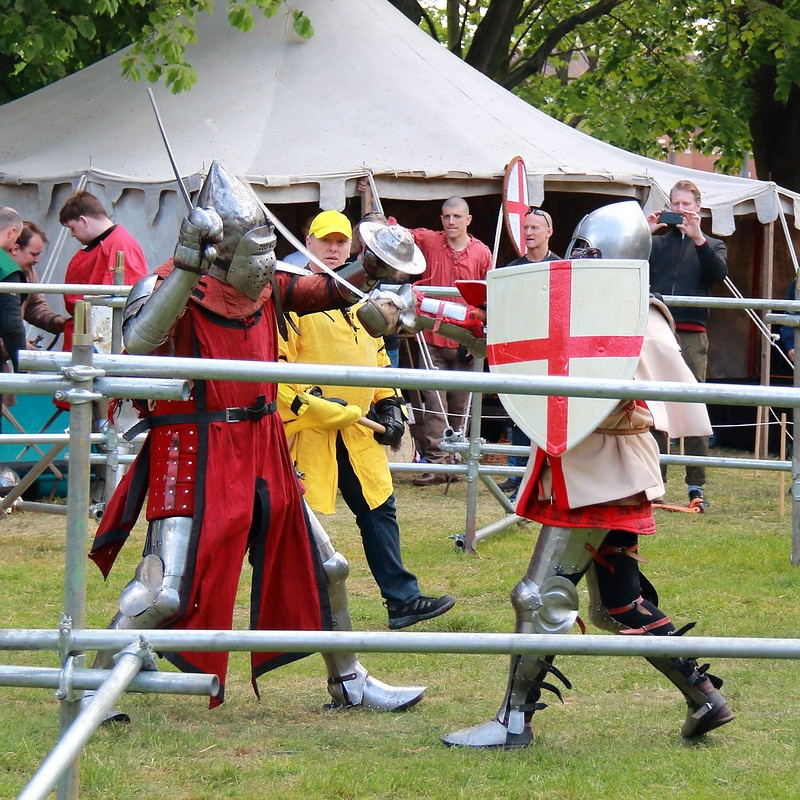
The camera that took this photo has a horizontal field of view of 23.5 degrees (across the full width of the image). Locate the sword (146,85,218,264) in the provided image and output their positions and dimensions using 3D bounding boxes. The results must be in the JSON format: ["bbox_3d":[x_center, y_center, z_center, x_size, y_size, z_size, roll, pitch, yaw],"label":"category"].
[{"bbox_3d":[-0.895,-0.922,7.655,0.089,0.724,0.173,-17,-3,-39],"label":"sword"}]

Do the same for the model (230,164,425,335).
[{"bbox_3d":[-0.283,-0.522,8.386,0.612,0.339,0.846,1,13,-31],"label":"model"}]

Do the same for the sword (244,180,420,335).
[{"bbox_3d":[-0.162,-0.496,8.051,0.520,0.566,0.333,-5,-11,-35],"label":"sword"}]

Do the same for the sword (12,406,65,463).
[{"bbox_3d":[-2.217,0.227,11.687,0.322,0.305,0.034,42,-23,-25],"label":"sword"}]

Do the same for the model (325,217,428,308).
[{"bbox_3d":[-0.053,-0.575,8.208,0.304,0.260,0.300,12,-2,43],"label":"model"}]

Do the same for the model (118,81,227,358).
[{"bbox_3d":[-0.910,-0.730,7.501,0.469,1.055,0.230,-8,0,23],"label":"model"}]
